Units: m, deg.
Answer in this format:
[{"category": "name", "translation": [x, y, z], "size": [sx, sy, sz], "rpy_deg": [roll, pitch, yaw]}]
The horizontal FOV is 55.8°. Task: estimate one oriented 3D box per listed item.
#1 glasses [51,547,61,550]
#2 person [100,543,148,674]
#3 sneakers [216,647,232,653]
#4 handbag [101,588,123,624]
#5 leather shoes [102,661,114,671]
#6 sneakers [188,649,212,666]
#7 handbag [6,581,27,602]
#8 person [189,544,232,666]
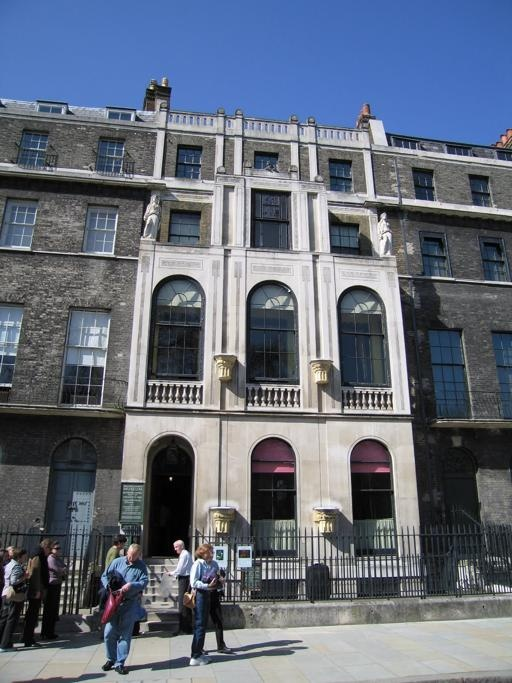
[{"category": "glasses", "translation": [-3.739, 3.884, 9.036], "size": [0.098, 0.033, 0.102], "rpy_deg": [17, -26, -39]}, {"category": "person", "translation": [-1.779, 3.585, 6.483], "size": [0.572, 1.588, 0.679], "rpy_deg": [10, -22, -28]}, {"category": "sneakers", "translation": [-0.506, 4.845, 7.609], "size": [0.234, 0.099, 0.120], "rpy_deg": [-7, -25, 14]}, {"category": "handbag", "translation": [-1.888, 3.467, 6.254], "size": [0.121, 0.479, 0.264], "rpy_deg": [30, -4, -36]}, {"category": "leather shoes", "translation": [-1.978, 4.372, 6.523], "size": [0.104, 0.129, 0.309], "rpy_deg": [8, -25, -6]}, {"category": "sneakers", "translation": [-0.798, 4.567, 6.985], "size": [0.369, 0.157, 0.148], "rpy_deg": [10, -13, -38]}, {"category": "handbag", "translation": [-3.763, 3.934, 7.588], "size": [0.177, 0.341, 0.307], "rpy_deg": [-24, -28, 39]}, {"category": "person", "translation": [-0.726, 3.972, 7.404], "size": [0.551, 1.629, 1.140], "rpy_deg": [-1, -19, 4]}]
